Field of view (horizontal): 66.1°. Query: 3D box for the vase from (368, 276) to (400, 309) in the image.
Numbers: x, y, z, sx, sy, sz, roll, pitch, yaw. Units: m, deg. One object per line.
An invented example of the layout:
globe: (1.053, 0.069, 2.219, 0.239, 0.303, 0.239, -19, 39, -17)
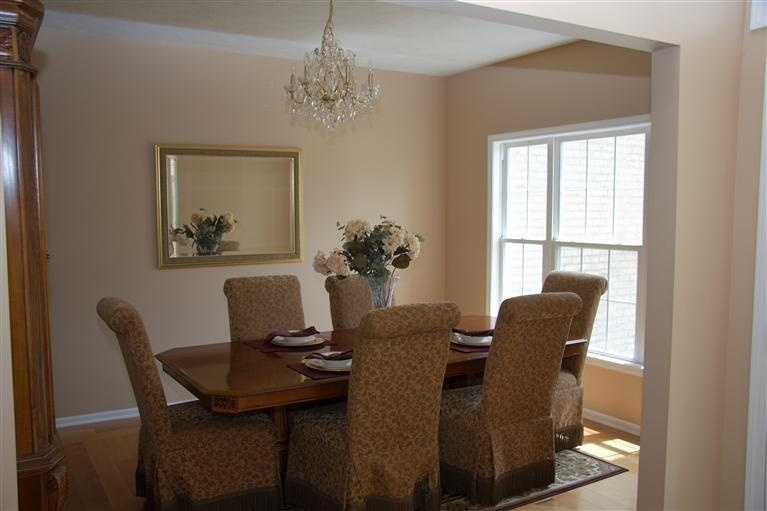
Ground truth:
vase: (0.010, 0.248, 3.981, 0.221, 0.239, 0.202, 1, -2, -33)

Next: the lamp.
lamp: (-0.477, -1.549, 5.097, 0.901, 0.962, 2.021, 0, 6, -1)

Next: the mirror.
mirror: (-1.482, -0.465, 5.450, 1.212, 1.001, 0.085, -1, 3, -26)
